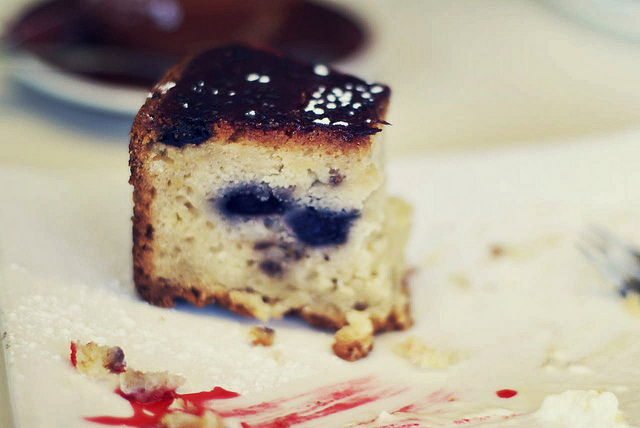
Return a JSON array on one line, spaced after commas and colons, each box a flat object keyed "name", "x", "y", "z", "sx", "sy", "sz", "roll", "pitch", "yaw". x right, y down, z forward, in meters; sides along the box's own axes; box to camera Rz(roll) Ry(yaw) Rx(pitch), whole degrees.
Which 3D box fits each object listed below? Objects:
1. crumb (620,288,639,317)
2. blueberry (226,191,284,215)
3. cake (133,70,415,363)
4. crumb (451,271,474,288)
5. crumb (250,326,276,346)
[{"name": "crumb", "x": 0.601, "y": 0.168, "z": 1.620, "sx": 0.038, "sy": 0.032, "sz": 0.044, "roll": 12, "pitch": 44, "yaw": -8}, {"name": "blueberry", "x": -0.123, "y": -0.018, "z": 1.622, "sx": 0.100, "sy": 0.044, "sz": 0.023, "roll": 3, "pitch": 5, "yaw": 1}, {"name": "cake", "x": -0.088, "y": -0.017, "z": 1.664, "sx": 0.550, "sy": 0.314, "sz": 0.563, "roll": 3, "pitch": 46, "yaw": -16}, {"name": "crumb", "x": 0.279, "y": 0.127, "z": 1.642, "sx": 0.044, "sy": 0.017, "sz": 0.025, "roll": 31, "pitch": 45, "yaw": 13}, {"name": "crumb", "x": -0.111, "y": 0.233, "z": 1.617, "sx": 0.048, "sy": 0.011, "sz": 0.041, "roll": 9, "pitch": 44, "yaw": -10}]
